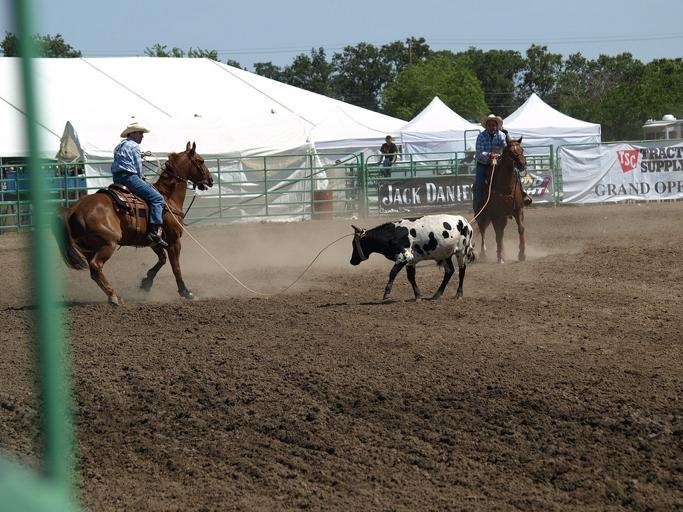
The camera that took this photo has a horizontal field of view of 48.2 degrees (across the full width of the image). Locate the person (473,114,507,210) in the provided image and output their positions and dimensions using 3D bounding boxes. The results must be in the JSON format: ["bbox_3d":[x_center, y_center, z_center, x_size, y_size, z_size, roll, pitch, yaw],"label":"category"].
[{"bbox_3d":[2.606,-1.652,13.786,0.599,1.780,0.552,19,29,37],"label":"person"}]

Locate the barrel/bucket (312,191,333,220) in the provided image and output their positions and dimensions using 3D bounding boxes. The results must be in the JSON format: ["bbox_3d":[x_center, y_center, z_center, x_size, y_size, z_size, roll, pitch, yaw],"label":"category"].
[{"bbox_3d":[-0.551,-1.495,22.309,0.723,0.866,0.580,-4,8,-17],"label":"barrel/bucket"}]

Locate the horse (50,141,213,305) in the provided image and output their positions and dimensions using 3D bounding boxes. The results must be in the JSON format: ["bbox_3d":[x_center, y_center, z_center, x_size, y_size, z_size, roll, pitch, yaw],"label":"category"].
[{"bbox_3d":[-2.982,-0.390,11.389,0.697,2.444,2.727,4,10,39],"label":"horse"}]

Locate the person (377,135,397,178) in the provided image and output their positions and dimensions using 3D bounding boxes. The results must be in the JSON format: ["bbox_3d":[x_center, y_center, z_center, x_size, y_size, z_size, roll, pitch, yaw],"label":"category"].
[{"bbox_3d":[1.419,-3.065,23.428,0.525,1.268,1.814,-1,8,3],"label":"person"}]

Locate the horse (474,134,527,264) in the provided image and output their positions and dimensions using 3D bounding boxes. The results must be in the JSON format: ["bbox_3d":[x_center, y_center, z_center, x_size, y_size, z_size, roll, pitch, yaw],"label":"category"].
[{"bbox_3d":[2.845,-0.985,13.531,0.955,2.186,0.899,3,8,27],"label":"horse"}]
